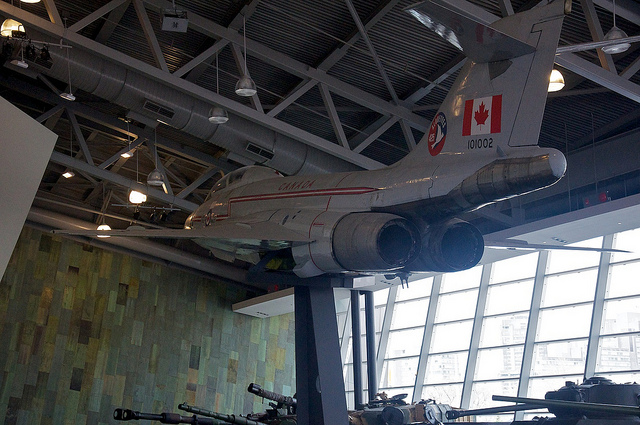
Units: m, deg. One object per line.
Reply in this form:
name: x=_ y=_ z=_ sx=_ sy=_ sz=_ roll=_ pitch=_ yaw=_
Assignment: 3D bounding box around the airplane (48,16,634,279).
airplane: x=0.594 y=-1.527 z=10.504 sx=6.989 sy=2.456 sz=6.800 roll=4 pitch=-3 yaw=-36
